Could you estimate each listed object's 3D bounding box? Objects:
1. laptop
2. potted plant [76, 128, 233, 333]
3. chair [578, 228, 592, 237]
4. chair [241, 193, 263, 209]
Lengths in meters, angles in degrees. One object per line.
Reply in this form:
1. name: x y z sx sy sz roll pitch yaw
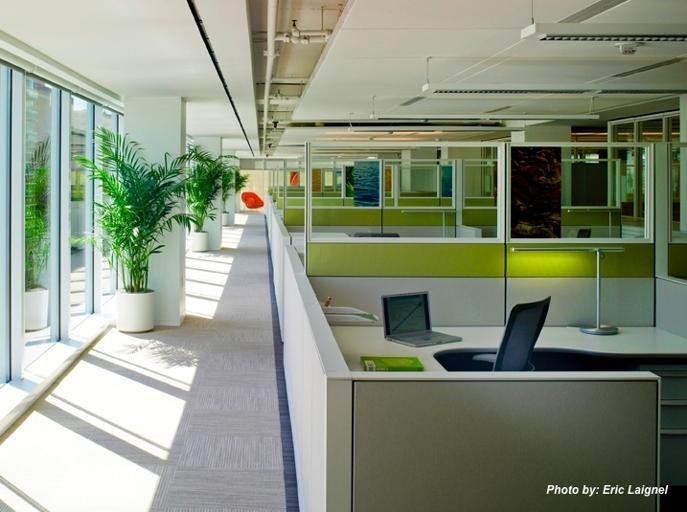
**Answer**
1. laptop: 0.521 0.417 3.696 0.485 0.387 0.334 0 -3 -28
2. potted plant: -2.746 -0.397 7.433 1.363 2.660 1.861 -2 9 -16
3. chair: 3.333 -0.330 7.399 0.154 0.189 0.164 2 8 15
4. chair: -5.470 -3.338 31.444 1.126 0.887 1.292 5 6 32
